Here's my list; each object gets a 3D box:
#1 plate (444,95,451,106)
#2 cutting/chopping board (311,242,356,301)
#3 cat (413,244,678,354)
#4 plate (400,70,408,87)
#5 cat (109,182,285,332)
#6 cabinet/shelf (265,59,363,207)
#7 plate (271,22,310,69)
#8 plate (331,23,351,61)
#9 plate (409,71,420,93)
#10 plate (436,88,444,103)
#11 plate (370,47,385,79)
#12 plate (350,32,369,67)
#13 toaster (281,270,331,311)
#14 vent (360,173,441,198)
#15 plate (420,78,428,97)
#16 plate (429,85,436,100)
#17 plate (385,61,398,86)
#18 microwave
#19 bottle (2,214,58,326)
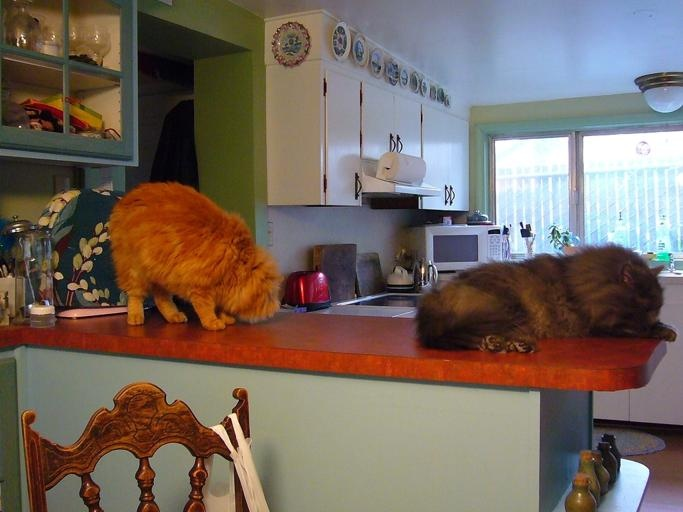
[{"bbox_3d":[0.870,-1.260,4.711,0.054,0.088,0.022,-1,5,-6],"label":"plate"},{"bbox_3d":[-0.065,0.101,3.716,0.049,0.352,0.355,1,2,32],"label":"cutting/chopping board"},{"bbox_3d":[0.518,0.109,1.446,0.501,0.217,0.301,-4,-6,2],"label":"cat"},{"bbox_3d":[0.429,-1.213,3.957,0.019,0.108,0.100,5,7,13],"label":"plate"},{"bbox_3d":[-0.442,0.007,1.677,0.514,0.426,0.230,5,10,22],"label":"cat"},{"bbox_3d":[-0.139,-0.682,3.310,0.589,0.796,0.346,-1,9,-13],"label":"cabinet/shelf"},{"bbox_3d":[-0.282,-1.161,3.175,0.209,0.237,0.052,16,12,31],"label":"plate"},{"bbox_3d":[-0.006,-1.202,3.245,0.022,0.209,0.184,6,11,33],"label":"plate"},{"bbox_3d":[0.515,-1.233,4.094,0.026,0.127,0.099,6,7,32],"label":"plate"},{"bbox_3d":[0.772,-1.260,4.537,0.016,0.139,0.123,0,2,24],"label":"plate"},{"bbox_3d":[0.220,-1.202,3.601,0.032,0.154,0.142,2,-2,26],"label":"plate"},{"bbox_3d":[0.108,-1.225,3.430,0.031,0.153,0.152,0,-41,22],"label":"plate"},{"bbox_3d":[-0.207,0.217,3.472,0.295,0.241,0.346,-3,-3,1],"label":"toaster"},{"bbox_3d":[0.376,-0.469,3.820,0.213,0.151,0.743,6,11,27],"label":"vent"},{"bbox_3d":[0.602,-1.238,4.235,0.020,0.139,0.104,6,24,30],"label":"plate"},{"bbox_3d":[0.697,-1.248,4.410,0.022,0.094,0.095,7,-3,19],"label":"plate"},{"bbox_3d":[0.334,-1.206,3.820,0.028,0.138,0.115,4,4,32],"label":"plate"},{"bbox_3d":[0.896,-0.076,4.761,0.610,0.356,0.441,-1,-1,-25],"label":"microwave"},{"bbox_3d":[-1.000,0.051,1.844,0.141,0.289,0.333,-4,10,-28],"label":"bottle"}]
